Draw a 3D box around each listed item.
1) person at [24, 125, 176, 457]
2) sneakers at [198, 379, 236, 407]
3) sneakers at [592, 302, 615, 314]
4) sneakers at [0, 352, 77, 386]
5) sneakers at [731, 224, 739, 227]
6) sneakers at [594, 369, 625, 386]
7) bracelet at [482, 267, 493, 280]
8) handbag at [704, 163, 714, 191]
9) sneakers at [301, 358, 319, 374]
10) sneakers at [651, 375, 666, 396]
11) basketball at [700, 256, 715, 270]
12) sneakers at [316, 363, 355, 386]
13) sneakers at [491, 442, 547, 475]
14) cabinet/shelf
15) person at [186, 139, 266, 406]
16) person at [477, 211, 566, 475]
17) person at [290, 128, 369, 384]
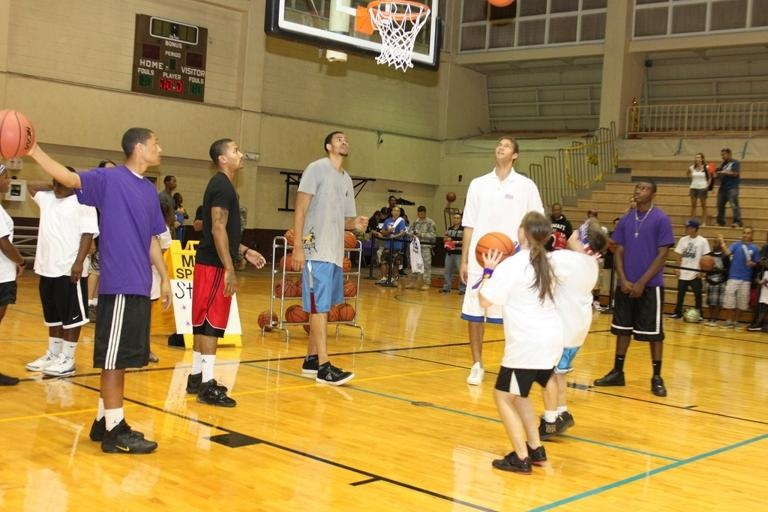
[{"bbox_3d":[-1.953,0.216,4.219,0.767,2.344,0.684,1,4,-21],"label":"person"},{"bbox_3d":[-1.539,1.249,5.305,0.447,0.202,0.168,4,3,36],"label":"sneakers"},{"bbox_3d":[5.137,1.249,13.680,0.193,0.224,0.570,0,-3,-12],"label":"sneakers"},{"bbox_3d":[-3.451,1.142,5.911,0.666,0.282,0.222,3,-5,-11],"label":"sneakers"},{"bbox_3d":[8.828,-0.766,14.628,0.131,0.052,0.078,-5,-7,15],"label":"sneakers"},{"bbox_3d":[2.640,1.428,6.837,0.457,0.193,0.150,1,-3,-13],"label":"sneakers"},{"bbox_3d":[0.826,0.128,4.600,0.086,0.092,0.085,15,32,-6],"label":"bracelet"},{"bbox_3d":[8.530,-2.079,15.223,0.181,0.678,0.638,5,4,32],"label":"handbag"},{"bbox_3d":[-0.810,1.219,6.464,0.274,0.183,0.134,1,2,-5],"label":"sneakers"},{"bbox_3d":[3.094,1.446,6.555,0.172,0.220,0.207,4,4,26],"label":"sneakers"},{"bbox_3d":[6.909,0.198,12.459,0.338,0.288,0.287,28,-20,-35],"label":"basketball"},{"bbox_3d":[-0.510,1.240,6.139,0.393,0.180,0.207,1,4,15],"label":"sneakers"},{"bbox_3d":[0.992,1.498,4.299,0.411,0.173,0.161,-1,1,6],"label":"sneakers"},{"bbox_3d":[-1.019,0.482,9.079,1.517,1.592,0.919,2,1,-7],"label":"cabinet/shelf"},{"bbox_3d":[-1.533,0.128,5.410,0.658,2.421,0.390,4,4,27],"label":"person"},{"bbox_3d":[0.993,0.624,4.273,0.623,1.892,0.302,3,4,5],"label":"person"},{"bbox_3d":[-0.576,0.035,6.093,0.726,2.645,0.489,2,4,-8],"label":"person"}]
